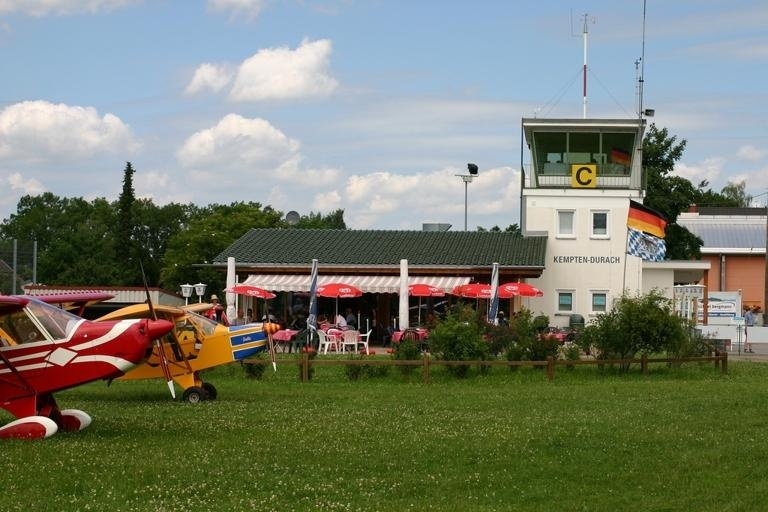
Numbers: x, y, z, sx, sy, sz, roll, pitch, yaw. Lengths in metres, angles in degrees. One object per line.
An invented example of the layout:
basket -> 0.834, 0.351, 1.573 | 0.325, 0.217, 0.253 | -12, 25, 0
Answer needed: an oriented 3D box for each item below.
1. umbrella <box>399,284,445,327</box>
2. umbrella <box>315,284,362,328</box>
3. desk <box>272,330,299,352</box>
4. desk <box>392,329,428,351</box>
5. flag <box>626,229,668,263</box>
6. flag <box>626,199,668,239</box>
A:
umbrella -> 1.346, 2.106, 54.161 | 1.852, 1.795, 1.736 | -4, 6, -29
umbrella -> -1.960, 2.065, 54.135 | 1.740, 1.719, 1.747 | 1, 5, 11
desk -> -3.929, 3.397, 50.392 | 1.110, 0.732, 1.428 | -1, 1, 4
desk -> 1.068, 3.222, 48.136 | 1.065, 0.501, 1.046 | 1, 1, -3
flag -> 11.220, -0.460, 54.167 | 1.554, 1.076, 0.221 | 10, -11, -13
flag -> 11.638, -1.677, 56.065 | 2.110, 1.585, 0.435 | 16, -3, -9
